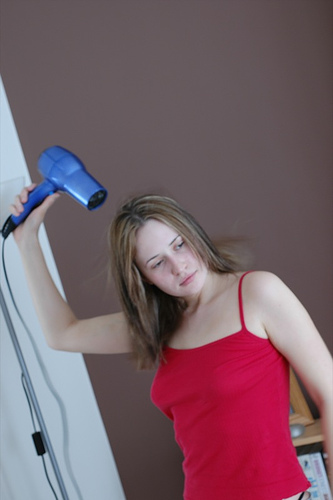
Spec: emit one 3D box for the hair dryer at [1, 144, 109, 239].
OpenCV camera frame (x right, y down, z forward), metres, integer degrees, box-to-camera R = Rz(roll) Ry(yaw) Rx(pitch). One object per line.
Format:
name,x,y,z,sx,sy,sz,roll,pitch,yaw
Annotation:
hair dryer,-0.296,-0.135,1.155,0.349,0.154,0.126,-17,-44,29
